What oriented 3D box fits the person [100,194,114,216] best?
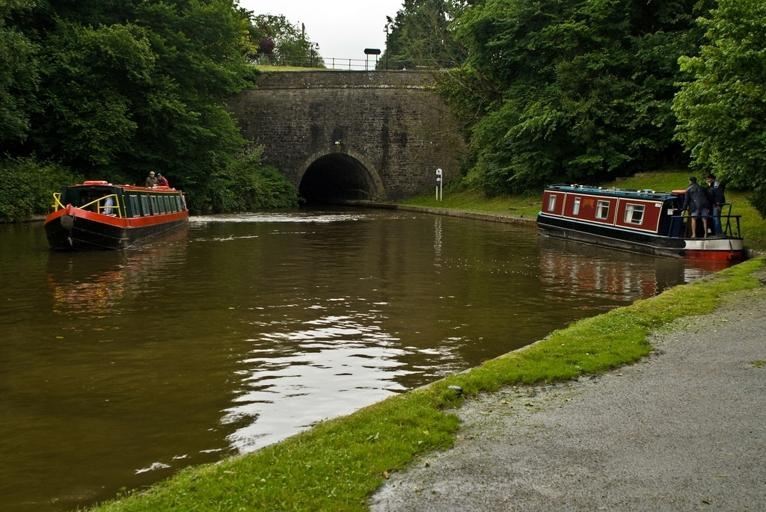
[{"bbox_3d":[-9.085,-1.673,24.437,0.399,0.627,0.619,-3,9,-19],"label":"person"}]

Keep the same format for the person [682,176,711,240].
[{"bbox_3d":[9.031,-1.398,21.347,0.675,1.732,0.837,0,9,7],"label":"person"}]

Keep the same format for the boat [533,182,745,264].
[{"bbox_3d":[8.793,-1.237,24.899,2.600,1.858,9.354,-2,5,-16],"label":"boat"}]
